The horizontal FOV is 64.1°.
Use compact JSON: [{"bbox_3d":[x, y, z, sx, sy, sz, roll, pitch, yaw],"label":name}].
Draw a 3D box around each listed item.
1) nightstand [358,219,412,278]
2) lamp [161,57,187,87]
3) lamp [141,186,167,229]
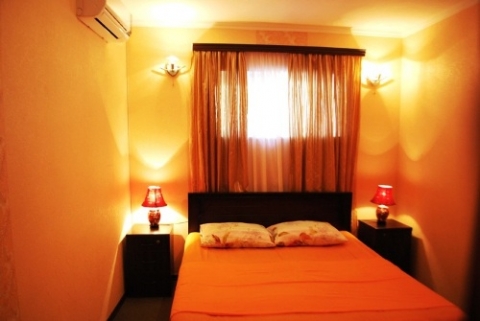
[{"bbox_3d":[1.836,1.028,5.038,0.558,0.813,0.803,0,-1,0],"label":"nightstand"},{"bbox_3d":[-0.825,-1.109,4.733,0.342,0.302,0.194,-1,3,-9],"label":"lamp"},{"bbox_3d":[-1.056,0.571,4.721,0.277,0.516,0.346,-1,3,-12],"label":"lamp"}]
